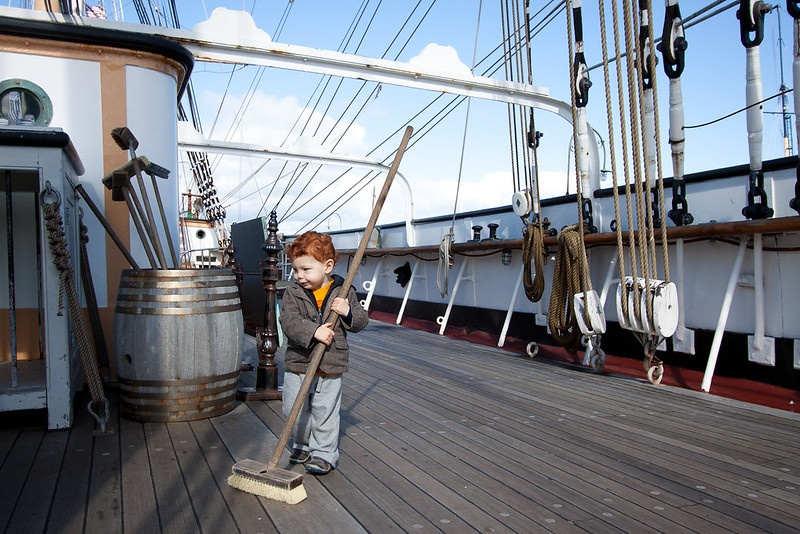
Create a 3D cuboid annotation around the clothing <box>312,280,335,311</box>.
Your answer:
[{"bbox_3d":[-0.476,0.161,3.130,0.115,0.159,0.161,-10,1,5],"label":"clothing"}]

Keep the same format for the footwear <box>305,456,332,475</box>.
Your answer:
[{"bbox_3d":[-0.478,1.147,2.965,0.065,0.084,0.185,-3,-16,12],"label":"footwear"}]

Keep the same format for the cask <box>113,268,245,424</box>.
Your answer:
[{"bbox_3d":[-1.598,0.571,4.037,0.915,1.108,0.967,1,0,-12],"label":"cask"}]

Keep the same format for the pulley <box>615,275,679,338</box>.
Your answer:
[{"bbox_3d":[2.212,0.347,4.616,0.496,0.799,0.522,0,11,38],"label":"pulley"}]

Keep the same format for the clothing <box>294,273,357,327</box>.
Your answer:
[{"bbox_3d":[-0.432,0.161,3.119,0.221,0.354,0.131,-3,5,14],"label":"clothing"}]

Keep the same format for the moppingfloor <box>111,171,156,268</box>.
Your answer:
[{"bbox_3d":[-2.330,-0.400,4.427,0.186,0.816,0.412,-15,3,-20],"label":"moppingfloor"}]
